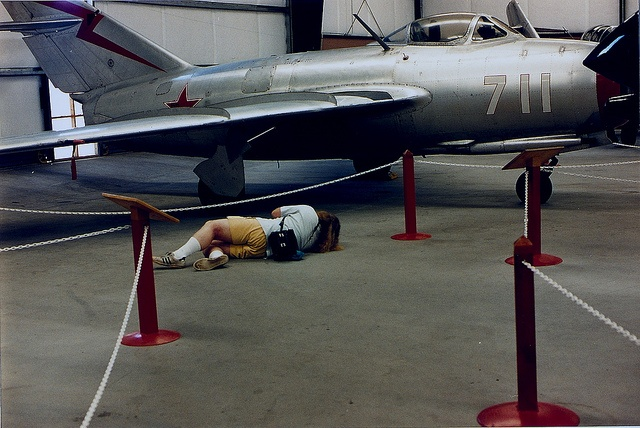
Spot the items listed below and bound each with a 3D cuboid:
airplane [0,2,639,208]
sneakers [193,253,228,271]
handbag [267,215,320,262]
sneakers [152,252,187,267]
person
[{"bbox_3d":[-0.209,-2.124,13.824,7.438,1.864,7.297,1,7,24],"label":"airplane"},{"bbox_3d":[-1.570,0.710,10.932,0.608,0.147,0.197,-4,-6,-16],"label":"sneakers"},{"bbox_3d":[-0.345,0.330,11.251,0.829,0.539,0.398,-4,3,-3],"label":"handbag"},{"bbox_3d":[-2.198,0.680,11.083,0.549,0.159,0.174,4,-2,-1],"label":"sneakers"},{"bbox_3d":[-1.088,0.322,11.352,2.877,0.814,0.725,-5,-14,-10],"label":"person"}]
